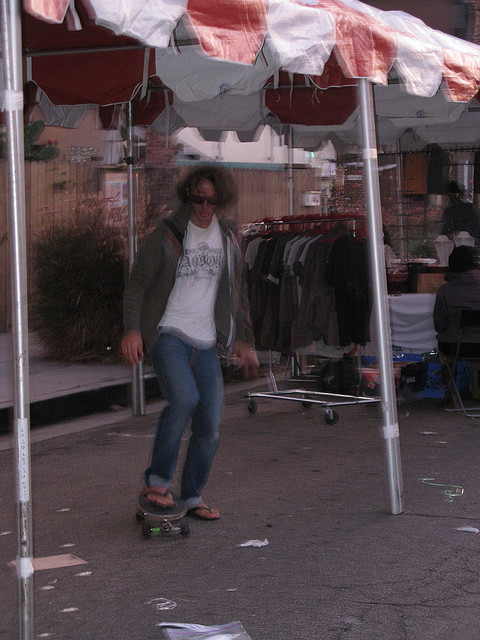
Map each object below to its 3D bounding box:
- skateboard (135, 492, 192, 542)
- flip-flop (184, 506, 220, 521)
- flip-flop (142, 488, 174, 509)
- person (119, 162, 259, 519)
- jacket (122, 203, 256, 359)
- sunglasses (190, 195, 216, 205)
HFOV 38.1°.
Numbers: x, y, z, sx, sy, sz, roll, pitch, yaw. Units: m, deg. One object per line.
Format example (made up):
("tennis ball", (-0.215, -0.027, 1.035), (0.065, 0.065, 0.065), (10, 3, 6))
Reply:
("skateboard", (-0.412, 1.013, 3.700), (0.241, 0.251, 0.255), (-1, 0, -15))
("flip-flop", (-0.209, 1.058, 3.899), (0.197, 0.055, 0.075), (0, 4, 27))
("flip-flop", (-0.436, 0.941, 3.704), (0.164, 0.109, 0.084), (-1, 0, -3))
("person", (-0.264, 0.106, 3.787), (0.865, 1.944, 0.414), (-1, 0, -35))
("jacket", (-0.282, -0.247, 3.851), (0.861, 0.835, 0.280), (-1, 0, -34))
("sunglasses", (-0.197, -0.652, 3.746), (0.132, 0.050, 0.052), (-1, 0, -3))
